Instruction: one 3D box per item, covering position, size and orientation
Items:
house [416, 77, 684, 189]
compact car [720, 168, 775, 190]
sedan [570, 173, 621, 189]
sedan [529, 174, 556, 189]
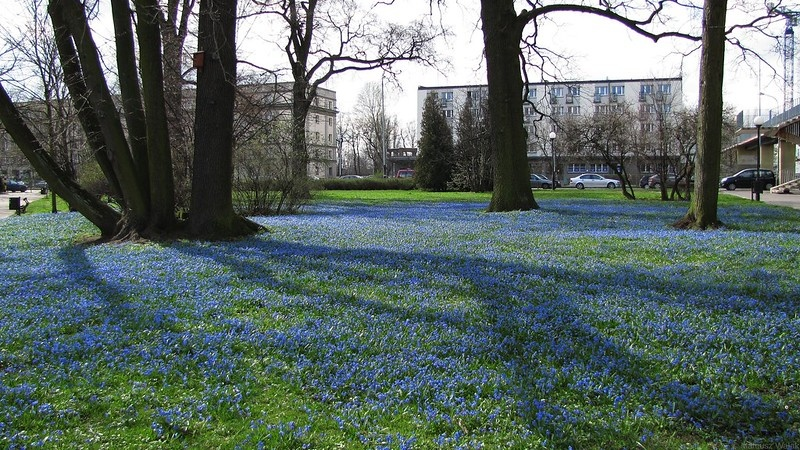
[{"bbox_3d":[20.964,-13.805,89.818,35.257,12.605,10.293,0,3,7],"label":"house"},{"bbox_3d":[28.582,-3.698,49.893,2.600,1.938,4.767,0,10,1],"label":"compact car"},{"bbox_3d":[19.796,-4.413,62.459,3.629,1.340,5.360,1,10,6],"label":"sedan"},{"bbox_3d":[13.870,-4.292,60.502,1.967,1.012,1.557,-4,11,-18],"label":"sedan"}]
